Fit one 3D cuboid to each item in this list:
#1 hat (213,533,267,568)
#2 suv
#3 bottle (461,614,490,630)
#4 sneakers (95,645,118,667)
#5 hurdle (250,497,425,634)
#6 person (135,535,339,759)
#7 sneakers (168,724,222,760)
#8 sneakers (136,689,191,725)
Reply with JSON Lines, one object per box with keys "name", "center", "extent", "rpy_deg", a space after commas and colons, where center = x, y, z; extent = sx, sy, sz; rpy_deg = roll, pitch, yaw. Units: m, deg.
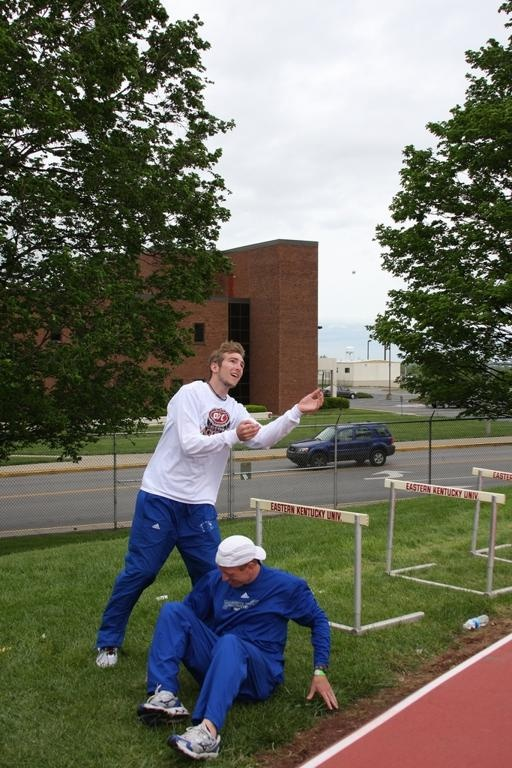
{"name": "hat", "center": [-0.070, 0.871, 3.695], "extent": [0.170, 0.111, 0.226], "rpy_deg": [13, 19, 40]}
{"name": "suv", "center": [2.687, 1.595, 18.088], "extent": [2.784, 1.158, 1.254], "rpy_deg": [4, -6, -26]}
{"name": "bottle", "center": [1.671, 1.806, 5.336], "extent": [0.238, 0.072, 0.084], "rpy_deg": [4, -10, -33]}
{"name": "sneakers", "center": [-0.907, 1.672, 4.267], "extent": [0.072, 0.071, 0.163], "rpy_deg": [12, -24, -24]}
{"name": "hurdle", "center": [0.229, 1.303, 5.331], "extent": [0.639, 0.734, 1.231], "rpy_deg": [5, -5, -36]}
{"name": "person", "center": [-0.157, 1.271, 3.668], "extent": [1.075, 0.951, 0.736], "rpy_deg": [-1, 1, -42]}
{"name": "sneakers", "center": [-0.262, 1.596, 3.138], "extent": [0.268, 0.142, 0.102], "rpy_deg": [29, -34, -20]}
{"name": "sneakers", "center": [-0.458, 1.607, 3.480], "extent": [0.287, 0.126, 0.138], "rpy_deg": [15, 34, -16]}
